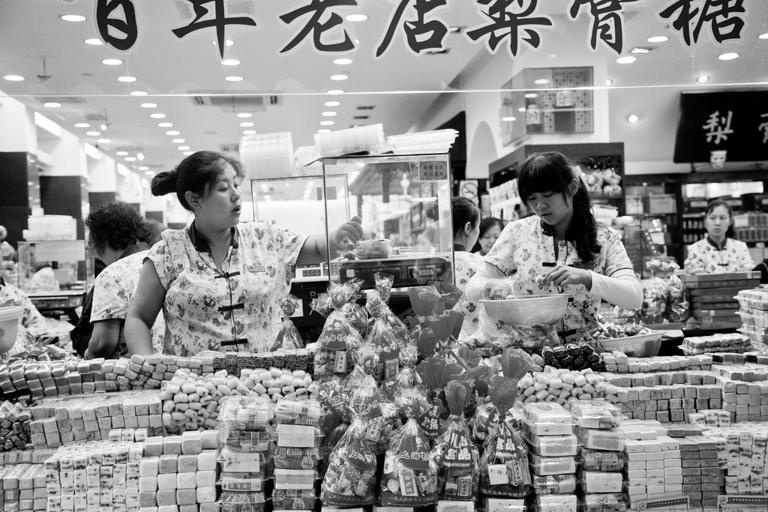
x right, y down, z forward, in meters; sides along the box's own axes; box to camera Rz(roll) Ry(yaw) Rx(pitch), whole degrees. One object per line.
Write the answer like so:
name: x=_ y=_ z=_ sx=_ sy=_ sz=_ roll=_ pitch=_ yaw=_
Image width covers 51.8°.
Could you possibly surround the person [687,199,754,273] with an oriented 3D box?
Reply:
person: x=3.370 y=-0.208 z=8.008 sx=0.665 sy=0.747 sz=0.522 roll=-3 pitch=-3 yaw=10
